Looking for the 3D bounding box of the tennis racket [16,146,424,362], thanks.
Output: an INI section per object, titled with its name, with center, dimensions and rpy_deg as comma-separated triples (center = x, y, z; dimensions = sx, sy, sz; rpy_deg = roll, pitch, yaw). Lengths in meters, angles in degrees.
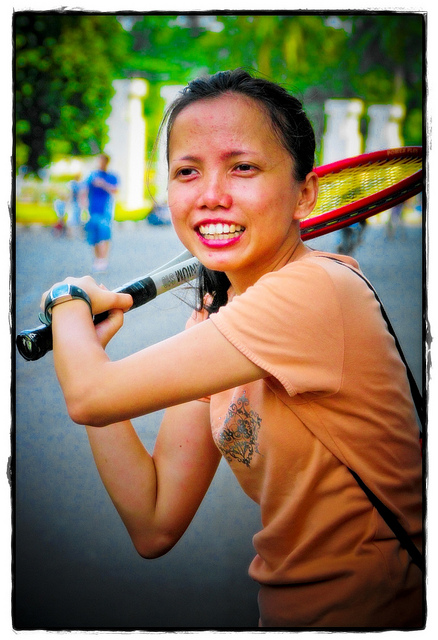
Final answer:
[tennis racket]
center = 0.043, -0.238, 2.078
dimensions = 1.365, 0.103, 0.524
rpy_deg = -29, 28, -16
